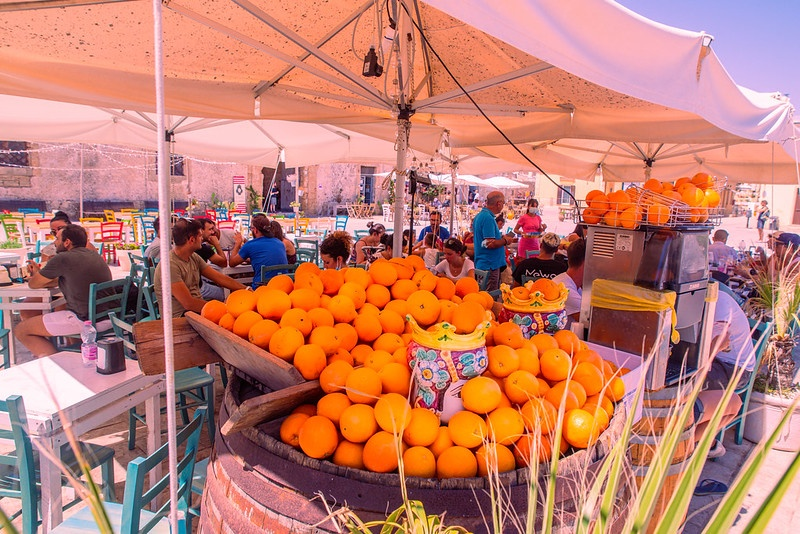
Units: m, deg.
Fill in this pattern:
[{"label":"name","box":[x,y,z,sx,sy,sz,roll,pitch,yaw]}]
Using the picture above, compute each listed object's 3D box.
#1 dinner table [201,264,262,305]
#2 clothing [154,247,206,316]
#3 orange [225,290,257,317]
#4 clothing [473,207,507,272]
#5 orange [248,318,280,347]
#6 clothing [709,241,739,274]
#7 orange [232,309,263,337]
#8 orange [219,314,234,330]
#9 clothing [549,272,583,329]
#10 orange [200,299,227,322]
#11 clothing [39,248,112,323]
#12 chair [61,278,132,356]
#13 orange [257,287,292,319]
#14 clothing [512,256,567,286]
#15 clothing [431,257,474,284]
[{"label":"dinner table","box":[-1.574,0.153,4.837,0.359,0.373,0.279,3,4,11]},{"label":"clothing","box":[-1.727,0.119,4.134,0.294,0.495,0.562,-4,10,-9]},{"label":"orange","box":[-0.833,0.185,2.713,0.128,0.142,0.067,1,-15,8]},{"label":"clothing","box":[1.162,-0.398,6.610,0.399,0.791,0.687,2,19,13]},{"label":"orange","box":[-0.676,0.321,2.638,0.139,0.114,0.105,-7,10,-37]},{"label":"clothing","box":[4.321,-0.121,7.037,0.420,0.463,0.241,7,4,28]},{"label":"orange","box":[-0.772,0.287,2.689,0.102,0.113,0.141,9,14,23]},{"label":"orange","box":[-0.892,0.283,2.715,0.080,0.066,0.062,-16,-12,15]},{"label":"clothing","box":[1.125,0.235,3.547,0.139,0.279,0.247,-14,46,-3]},{"label":"orange","box":[-0.992,0.233,2.801,0.121,0.102,0.092,2,13,-22]},{"label":"clothing","box":[-3.140,0.081,5.330,0.585,0.835,0.757,4,5,29]},{"label":"chair","box":[-2.739,0.431,4.710,0.515,0.818,0.479,10,11,11]},{"label":"orange","box":[-0.661,0.184,2.767,0.146,0.157,0.142,0,0,0]},{"label":"clothing","box":[1.388,0.036,5.235,0.295,0.309,0.173,0,-22,5]},{"label":"clothing","box":[0.584,0.028,5.830,0.400,0.479,0.262,-3,3,2]}]
